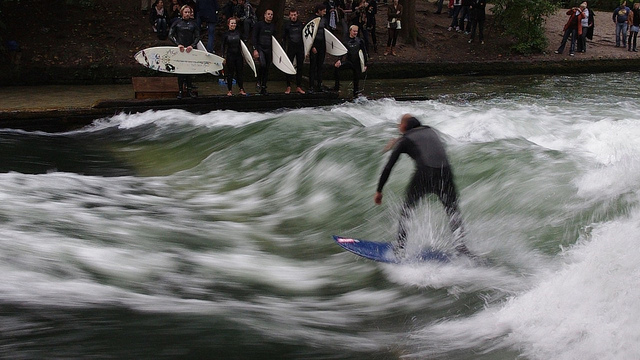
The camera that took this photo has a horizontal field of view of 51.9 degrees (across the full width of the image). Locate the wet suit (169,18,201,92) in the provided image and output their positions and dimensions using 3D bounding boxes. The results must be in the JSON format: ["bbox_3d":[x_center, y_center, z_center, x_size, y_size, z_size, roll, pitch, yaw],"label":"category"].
[{"bbox_3d":[-3.558,-3.387,17.812,0.797,2.002,0.502,-8,22,-11],"label":"wet suit"}]

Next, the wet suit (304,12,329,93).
[{"bbox_3d":[-0.067,-3.689,19.265,0.690,2.313,1.280,-4,21,0],"label":"wet suit"}]

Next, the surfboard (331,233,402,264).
[{"bbox_3d":[0.771,1.347,12.465,1.615,0.153,0.441,14,48,0],"label":"surfboard"}]

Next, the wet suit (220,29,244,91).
[{"bbox_3d":[-2.396,-3.334,18.201,0.587,1.735,0.882,-7,21,-7],"label":"wet suit"}]

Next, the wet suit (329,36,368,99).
[{"bbox_3d":[0.893,-3.307,19.282,0.987,1.842,0.660,-2,21,6],"label":"wet suit"}]

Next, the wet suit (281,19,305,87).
[{"bbox_3d":[-0.716,-3.647,18.869,0.610,1.952,0.436,-5,22,-4],"label":"wet suit"}]

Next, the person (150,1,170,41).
[{"bbox_3d":[-5.523,-5.597,22.957,0.558,1.352,0.687,-11,22,-18],"label":"person"}]

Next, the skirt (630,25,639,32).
[{"bbox_3d":[13.082,-6.355,27.358,0.363,0.224,0.314,4,20,7],"label":"skirt"}]

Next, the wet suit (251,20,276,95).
[{"bbox_3d":[-1.507,-3.459,18.489,0.623,2.069,0.603,-6,22,-4],"label":"wet suit"}]
